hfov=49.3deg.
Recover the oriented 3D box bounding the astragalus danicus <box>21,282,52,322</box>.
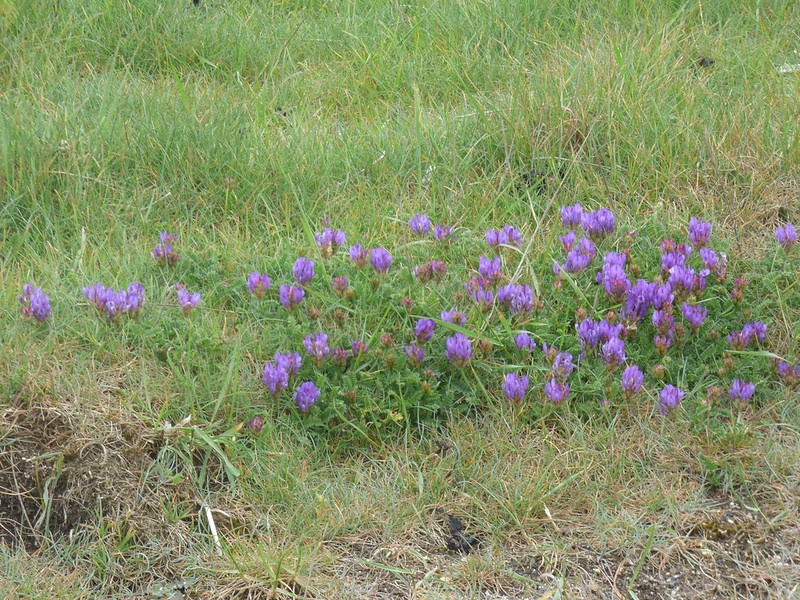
[{"bbox_3d":[-1.936,0.016,4.619,0.156,0.180,0.138,-10,37,-5],"label":"astragalus danicus"}]
